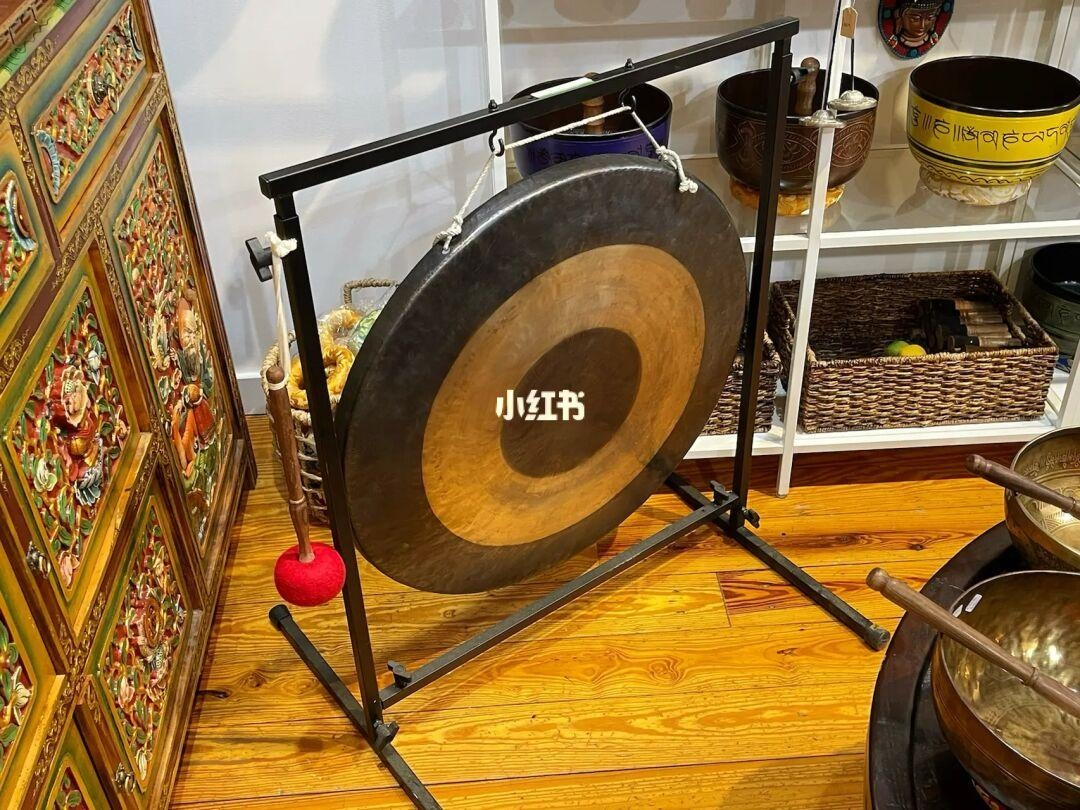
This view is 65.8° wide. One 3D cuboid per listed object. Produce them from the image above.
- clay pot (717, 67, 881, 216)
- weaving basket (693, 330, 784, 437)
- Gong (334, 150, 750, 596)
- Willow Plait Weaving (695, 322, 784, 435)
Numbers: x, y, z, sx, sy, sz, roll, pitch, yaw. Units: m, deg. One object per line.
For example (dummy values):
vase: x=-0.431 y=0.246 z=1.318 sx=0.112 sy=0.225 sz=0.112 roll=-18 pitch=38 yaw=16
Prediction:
clay pot: x=0.544 y=-0.539 z=1.838 sx=0.328 sy=0.221 sz=0.311 roll=0 pitch=33 yaw=0
weaving basket: x=0.490 y=-0.010 z=1.998 sx=0.185 sy=0.107 sz=0.265 roll=-3 pitch=50 yaw=3
Gong: x=0.040 y=-0.009 z=1.428 sx=0.832 sy=0.778 sz=0.100 roll=-23 pitch=43 yaw=-30
Willow Plait Weaving: x=0.489 y=-0.032 z=1.998 sx=0.182 sy=0.114 sz=0.264 roll=-2 pitch=49 yaw=3
